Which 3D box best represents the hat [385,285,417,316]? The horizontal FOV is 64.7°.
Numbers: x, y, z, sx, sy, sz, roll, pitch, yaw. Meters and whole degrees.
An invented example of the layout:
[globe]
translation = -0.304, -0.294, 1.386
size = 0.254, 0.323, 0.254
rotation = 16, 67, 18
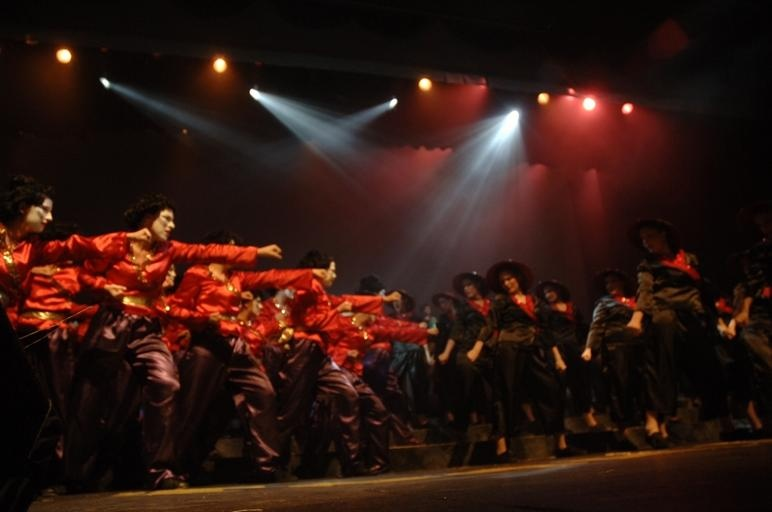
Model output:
[hat]
translation = 0.295, 0.781, 10.087
size = 0.490, 0.137, 0.463
rotation = 0, -51, 18
